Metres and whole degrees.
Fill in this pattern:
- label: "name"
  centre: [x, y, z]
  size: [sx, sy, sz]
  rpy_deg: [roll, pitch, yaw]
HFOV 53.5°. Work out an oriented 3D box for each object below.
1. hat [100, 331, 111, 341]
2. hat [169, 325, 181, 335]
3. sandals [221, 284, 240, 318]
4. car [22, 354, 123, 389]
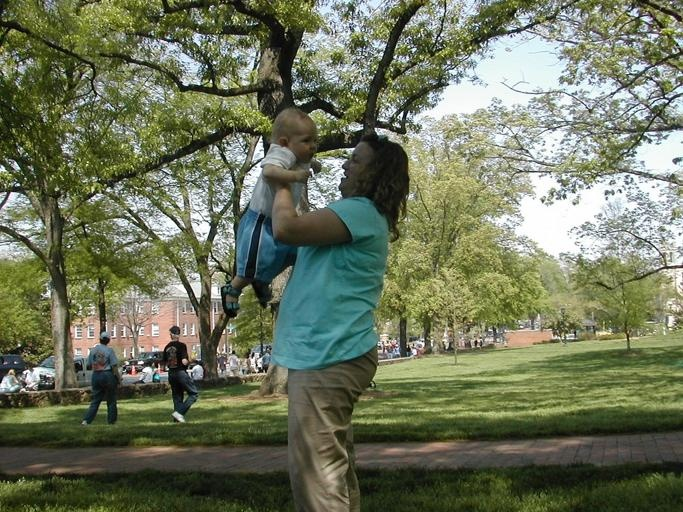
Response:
- label: "hat"
  centre: [-5.445, 1.855, 15.608]
  size: [0.223, 0.155, 0.313]
  rpy_deg: [4, 5, -19]
- label: "hat"
  centre: [-3.767, 1.675, 15.238]
  size: [0.217, 0.155, 0.304]
  rpy_deg: [-3, 6, -9]
- label: "sandals"
  centre: [-1.118, 0.437, 6.790]
  size: [0.173, 0.391, 0.142]
  rpy_deg: [-14, -26, 12]
- label: "car"
  centre: [-14.039, 5.814, 33.732]
  size: [3.203, 1.855, 4.124]
  rpy_deg: [-6, -14, 18]
